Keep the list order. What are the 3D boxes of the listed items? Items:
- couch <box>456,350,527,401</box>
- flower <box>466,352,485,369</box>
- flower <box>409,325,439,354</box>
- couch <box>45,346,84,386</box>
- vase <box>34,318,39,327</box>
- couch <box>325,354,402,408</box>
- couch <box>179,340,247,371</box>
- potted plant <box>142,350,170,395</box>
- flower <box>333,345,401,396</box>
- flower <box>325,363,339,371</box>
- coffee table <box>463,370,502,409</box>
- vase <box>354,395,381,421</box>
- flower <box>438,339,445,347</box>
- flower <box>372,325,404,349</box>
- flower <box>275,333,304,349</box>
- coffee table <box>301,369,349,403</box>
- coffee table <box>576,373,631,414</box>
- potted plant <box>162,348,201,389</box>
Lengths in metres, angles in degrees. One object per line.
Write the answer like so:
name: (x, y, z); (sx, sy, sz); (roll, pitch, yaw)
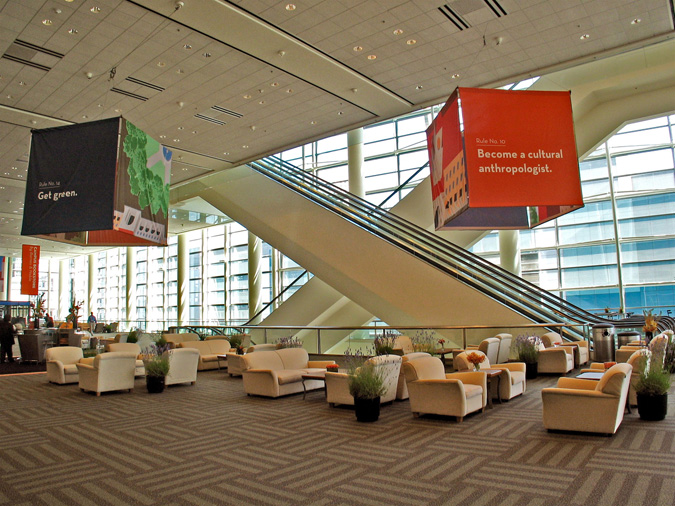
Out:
couch: (3.070, 2.340, 8.270); (1.041, 0.788, 1.134); (-3, -10, -12)
flower: (2.509, 1.903, 7.844); (0.316, 0.336, 0.328); (0, -1, 42)
flower: (2.439, 2.469, 12.226); (0.722, 0.910, 0.627); (3, 6, 38)
couch: (-6.904, 2.914, 11.219); (0.978, 0.979, 0.984); (2, -8, -31)
vase: (-12.619, 2.914, 18.307); (0.153, 0.434, 0.649); (3, -7, -35)
couch: (0.502, 2.336, 8.036); (1.094, 0.910, 1.161); (-7, -11, 35)
couch: (-3.536, 2.921, 12.309); (0.638, 0.634, 1.210); (-8, -12, 40)
potted plant: (-4.069, 2.736, 10.085); (0.676, 1.010, 0.838); (-3, -6, 6)
flower: (0.519, 2.196, 7.892); (0.927, 0.781, 0.994); (-4, -8, 33)
flower: (-0.124, 2.284, 8.684); (0.177, 0.130, 0.184); (-3, -9, 19)
coffee table: (2.540, 2.297, 7.731); (0.747, 0.608, 0.670); (-2, -1, 44)
vase: (0.491, 2.449, 6.949); (0.381, 0.298, 0.371); (-3, -8, 33)
flower: (2.943, 2.519, 12.191); (0.152, 0.221, 0.097); (-1, -5, 1)
flower: (1.412, 2.366, 12.180); (0.593, 0.442, 0.760); (0, -4, -3)
flower: (-1.471, 2.703, 13.111); (0.628, 0.256, 0.635); (2, -6, -26)
coffee table: (-0.241, 2.596, 8.463); (0.741, 0.514, 0.933); (0, -2, -44)
coffee table: (4.103, 2.046, 6.699); (0.776, 0.790, 0.756); (-6, -9, 38)
potted plant: (-3.987, 2.811, 10.662); (0.961, 0.910, 0.912); (-12, -17, 43)
